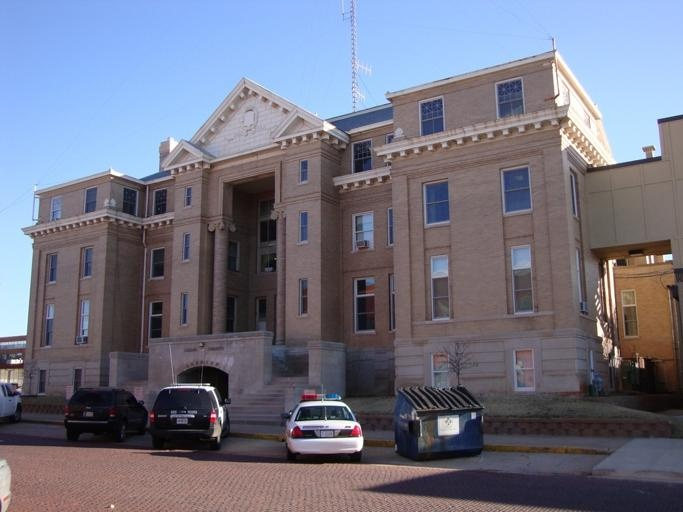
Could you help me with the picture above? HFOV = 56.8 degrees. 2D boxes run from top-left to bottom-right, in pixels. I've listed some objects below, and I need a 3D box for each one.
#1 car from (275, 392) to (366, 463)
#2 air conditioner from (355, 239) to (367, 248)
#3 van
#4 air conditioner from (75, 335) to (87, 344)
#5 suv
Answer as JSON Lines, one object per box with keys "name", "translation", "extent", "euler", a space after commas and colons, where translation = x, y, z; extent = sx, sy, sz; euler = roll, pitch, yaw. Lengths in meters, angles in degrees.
{"name": "car", "translation": [-0.529, 4.999, 17.884], "extent": [2.010, 1.709, 1.684], "euler": [-1, -12, -7]}
{"name": "air conditioner", "translation": [1.087, -0.642, 34.731], "extent": [0.788, 0.435, 0.383], "euler": [-5, -15, 28]}
{"name": "van", "translation": [-8.480, 5.835, 23.699], "extent": [1.884, 1.207, 3.151], "euler": [-2, -6, 9]}
{"name": "air conditioner", "translation": [-16.855, 5.542, 41.225], "extent": [0.974, 0.542, 0.544], "euler": [-8, -14, 30]}
{"name": "suv", "translation": [-4.998, 5.309, 20.849], "extent": [2.091, 2.072, 2.146], "euler": [-2, -12, -2]}
